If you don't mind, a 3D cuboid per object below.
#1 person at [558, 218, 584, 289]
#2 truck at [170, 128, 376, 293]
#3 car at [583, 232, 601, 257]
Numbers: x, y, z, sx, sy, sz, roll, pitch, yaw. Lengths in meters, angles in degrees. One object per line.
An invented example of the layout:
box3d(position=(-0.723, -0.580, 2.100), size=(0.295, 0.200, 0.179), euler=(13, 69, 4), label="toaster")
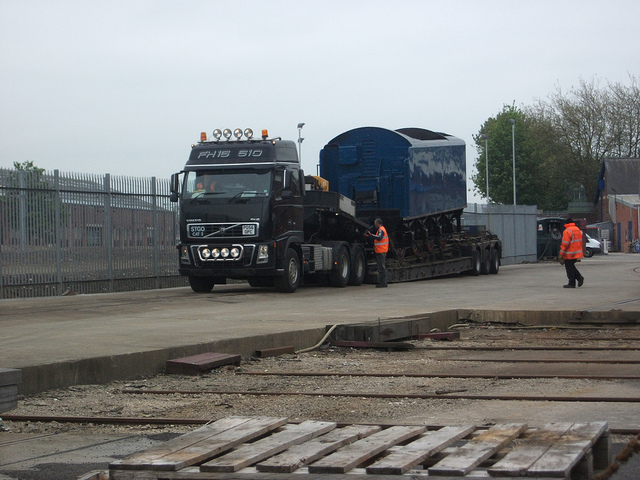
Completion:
box3d(position=(6.888, 0.402, 24.997), size=(0.597, 1.849, 1.299), euler=(0, 2, 15), label="person")
box3d(position=(-1.009, -0.596, 26.771), size=(3.565, 4.289, 8.661), euler=(0, -2, 20), label="truck")
box3d(position=(17.127, 0.456, 57.392), size=(0.778, 1.261, 2.639), euler=(0, 2, 21), label="car")
